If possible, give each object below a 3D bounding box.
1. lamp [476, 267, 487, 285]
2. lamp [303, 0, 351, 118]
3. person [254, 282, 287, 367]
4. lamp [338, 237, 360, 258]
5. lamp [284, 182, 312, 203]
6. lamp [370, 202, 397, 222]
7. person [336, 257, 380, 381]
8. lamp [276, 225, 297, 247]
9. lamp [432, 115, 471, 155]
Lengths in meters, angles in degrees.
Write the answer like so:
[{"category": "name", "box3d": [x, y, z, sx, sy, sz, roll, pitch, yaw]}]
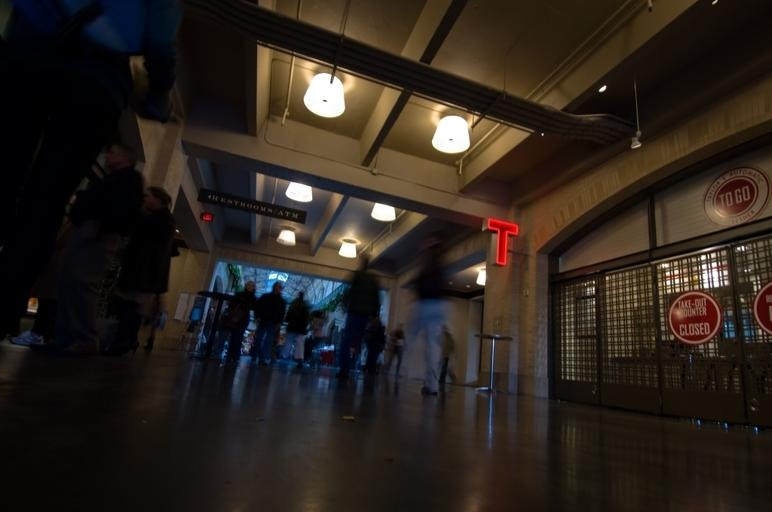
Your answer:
[{"category": "lamp", "box3d": [2.644, 0.526, 13.162, 0.176, 0.436, 1.011, 6, -1, 9]}, {"category": "lamp", "box3d": [-0.844, -2.795, 7.042, 0.579, 1.623, 1.903, 6, -1, -8]}, {"category": "person", "box3d": [-2.259, 1.347, 9.283, 0.513, 1.653, 2.687, 6, 0, -12]}, {"category": "lamp", "box3d": [-1.056, -0.263, 13.743, 0.555, 0.615, 0.563, 8, -18, -20]}, {"category": "lamp", "box3d": [-1.901, -1.363, 10.493, 0.465, 0.545, 0.482, 0, -6, 9]}, {"category": "lamp", "box3d": [-0.062, -0.920, 10.539, 0.417, 0.490, 0.442, 11, -16, -28]}, {"category": "person", "box3d": [-0.368, 0.894, 6.911, 0.510, 1.705, 0.900, 6, -1, -4]}, {"category": "lamp", "box3d": [-2.684, -0.580, 12.665, 0.542, 0.546, 0.574, 0, -17, 2]}, {"category": "lamp", "box3d": [1.006, -1.863, 7.690, 0.615, 0.441, 0.614, 13, -21, -29]}]
